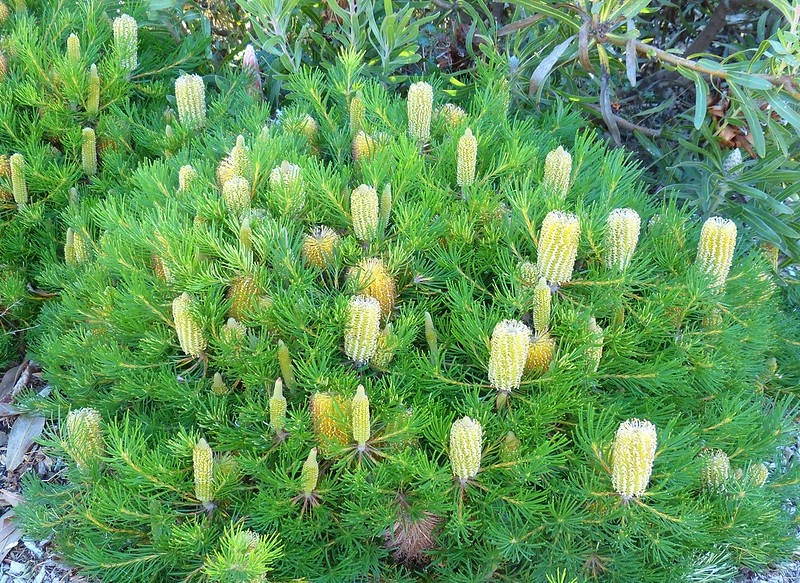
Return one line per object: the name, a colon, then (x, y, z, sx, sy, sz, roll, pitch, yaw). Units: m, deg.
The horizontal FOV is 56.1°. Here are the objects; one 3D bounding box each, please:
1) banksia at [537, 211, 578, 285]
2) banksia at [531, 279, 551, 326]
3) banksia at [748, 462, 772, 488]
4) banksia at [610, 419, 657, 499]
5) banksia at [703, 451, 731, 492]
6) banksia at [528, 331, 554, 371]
banksia: (0.383, -0.093, 1.832, 0.077, 0.082, 0.176, -12, 101, -6)
banksia: (0.338, 0.032, 1.795, 0.044, 0.150, 0.043, -13, 31, -13)
banksia: (0.906, 0.463, 1.894, 0.051, 0.046, 0.082, 10, 78, 13)
banksia: (0.519, 0.393, 1.724, 0.087, 0.091, 0.200, 2, 93, 29)
banksia: (0.786, 0.467, 1.894, 0.060, 0.062, 0.077, 8, 86, -9)
banksia: (0.340, 0.149, 1.799, 0.060, 0.042, 0.080, 22, 65, 24)
